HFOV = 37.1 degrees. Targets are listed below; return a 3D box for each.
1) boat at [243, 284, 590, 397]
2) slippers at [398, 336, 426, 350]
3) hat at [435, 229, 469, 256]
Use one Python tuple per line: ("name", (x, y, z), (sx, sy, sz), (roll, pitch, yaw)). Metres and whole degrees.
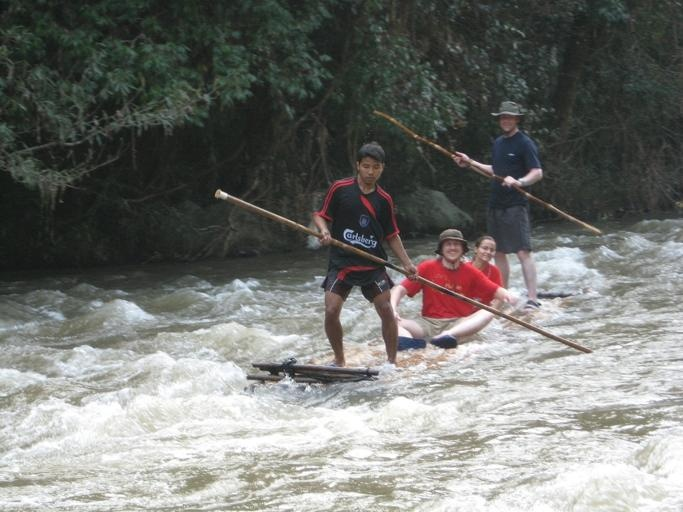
("boat", (0.976, 1.113, 11.157), (4.107, 1.230, 1.067), (6, -22, -11))
("slippers", (0.755, 0.948, 11.021), (0.381, 0.114, 0.111), (2, -9, -4))
("hat", (1.298, -0.206, 11.757), (0.361, 0.175, 0.371), (0, -19, 5))
